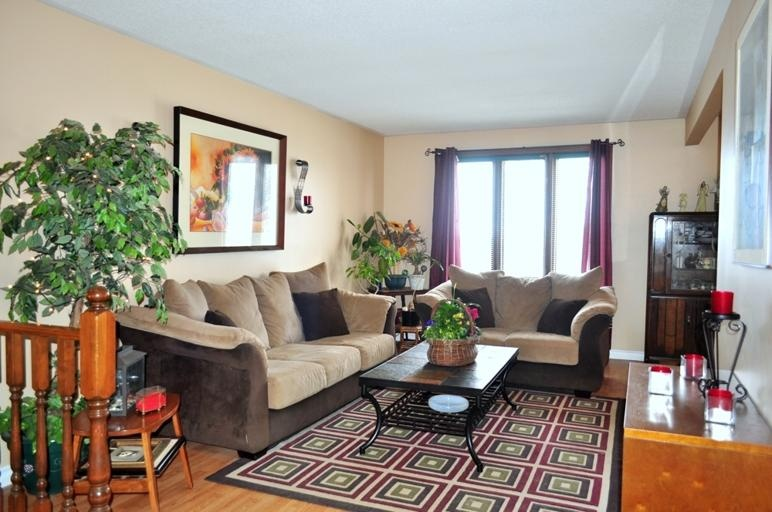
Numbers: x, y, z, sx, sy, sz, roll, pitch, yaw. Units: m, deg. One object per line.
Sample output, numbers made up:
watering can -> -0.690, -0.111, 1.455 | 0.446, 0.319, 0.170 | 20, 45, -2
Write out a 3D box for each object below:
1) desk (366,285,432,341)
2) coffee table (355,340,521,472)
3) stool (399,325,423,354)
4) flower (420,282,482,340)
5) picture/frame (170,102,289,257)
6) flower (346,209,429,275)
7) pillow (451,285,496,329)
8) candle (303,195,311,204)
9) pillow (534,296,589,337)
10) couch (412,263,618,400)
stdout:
desk -> 0.183, 0.748, 7.206 | 0.880, 0.841, 0.732 | -1, -3, 15
coffee table -> 0.382, 1.114, 4.380 | 0.862, 0.489, 1.262 | 0, 4, 23
stool -> 0.301, 1.071, 7.087 | 0.421, 0.386, 0.323 | 0, -7, 3
flower -> 0.593, 0.517, 4.812 | 0.347, 0.522, 0.552 | 2, -4, 14
picture/frame -> -1.545, -0.684, 5.496 | 0.123, 1.277, 1.564 | 5, 5, 26
flower -> 0.034, -0.126, 7.506 | 1.065, 0.894, 0.915 | 2, -2, -3
pillow -> 1.014, 0.624, 6.335 | 0.477, 0.432, 0.139 | -2, -19, -32
candle -> -0.927, -0.662, 6.346 | 0.100, 0.105, 0.093 | -1, 4, -12
pillow -> 1.857, 0.648, 5.825 | 0.133, 0.393, 0.412 | 32, -6, -23
couch -> 1.670, 1.019, 6.046 | 2.315, 1.429, 1.298 | -1, -3, 31
